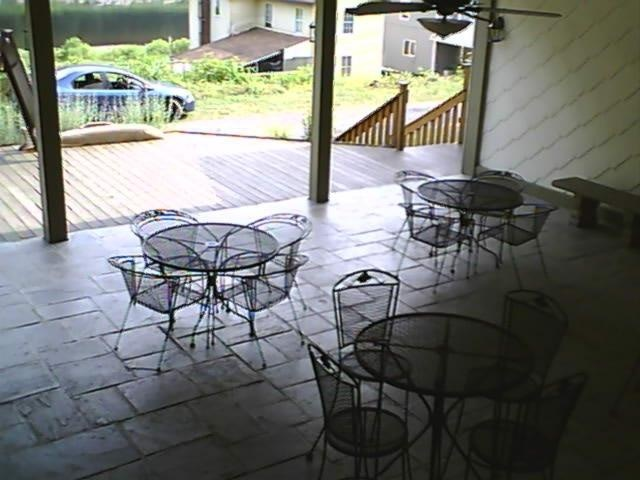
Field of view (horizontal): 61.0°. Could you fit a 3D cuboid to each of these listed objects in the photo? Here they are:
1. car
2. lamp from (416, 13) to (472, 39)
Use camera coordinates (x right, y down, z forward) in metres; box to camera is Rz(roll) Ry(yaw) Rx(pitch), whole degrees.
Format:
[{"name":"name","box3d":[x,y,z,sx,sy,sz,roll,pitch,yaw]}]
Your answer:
[{"name":"car","box3d":[-4.095,-3.154,11.717,2.663,0.629,1.262,-7,30,-25]},{"name":"lamp","box3d":[1.042,-1.822,4.630,0.338,0.132,0.290,7,22,18]}]
